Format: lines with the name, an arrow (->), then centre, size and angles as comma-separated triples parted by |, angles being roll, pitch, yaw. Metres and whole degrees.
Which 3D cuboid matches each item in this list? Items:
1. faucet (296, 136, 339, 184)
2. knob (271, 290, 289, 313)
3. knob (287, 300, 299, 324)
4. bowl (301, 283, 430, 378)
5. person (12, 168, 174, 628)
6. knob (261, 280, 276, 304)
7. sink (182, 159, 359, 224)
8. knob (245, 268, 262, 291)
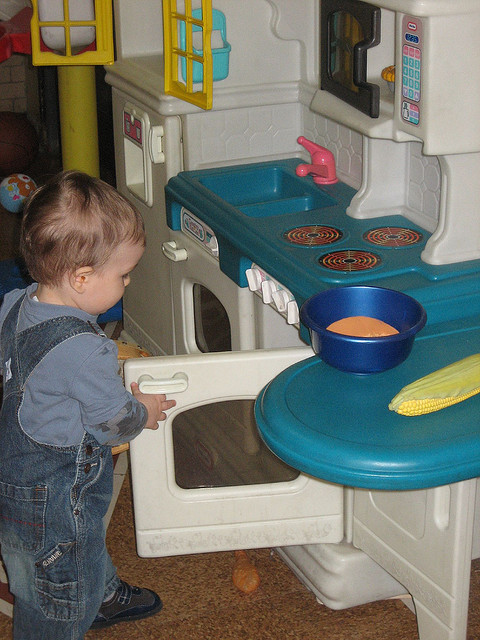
faucet -> 0.221, -0.481, 1.788 | 0.151, 0.139, 0.085 | -19, 33, -31
knob -> 0.085, -0.041, 1.268 | 0.017, 0.044, 0.035 | -8, 10, -41
knob -> 0.107, -0.019, 1.226 | 0.015, 0.042, 0.031 | 4, -6, -41
bowl -> 0.204, 0.014, 0.972 | 0.186, 0.082, 0.172 | 0, 34, 0
person -> -0.296, 0.178, 1.075 | 0.280, 0.864, 0.257 | 3, 15, 14
knob -> 0.066, -0.065, 1.321 | 0.035, 0.046, 0.018 | -4, 2, -8
sink -> 0.113, -0.373, 1.796 | 0.321, 0.142, 0.367 | -15, 35, -23
knob -> 0.032, -0.096, 1.408 | 0.037, 0.050, 0.018 | 3, 15, 44
